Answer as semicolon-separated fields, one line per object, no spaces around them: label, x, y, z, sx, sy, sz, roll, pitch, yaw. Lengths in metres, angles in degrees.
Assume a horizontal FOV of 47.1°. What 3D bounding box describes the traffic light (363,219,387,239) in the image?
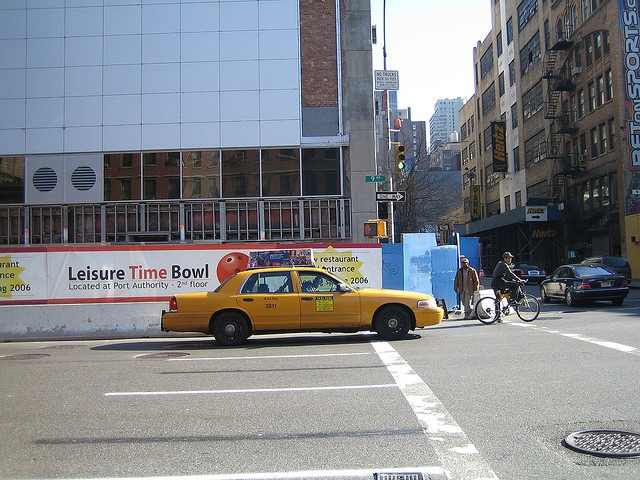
traffic light;1.943;-0.383;25.482;0.673;0.702;0.530;0;0;18

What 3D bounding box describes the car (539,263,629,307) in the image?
car;9.757;1.718;27.240;1.485;1.494;3.440;-2;8;-12

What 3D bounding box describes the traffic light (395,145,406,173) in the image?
traffic light;2.794;-2.834;25.556;0.288;0.967;0.776;-1;7;3

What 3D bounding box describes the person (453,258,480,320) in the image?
person;4.780;1.584;23.798;0.506;1.957;1.439;-2;7;-13

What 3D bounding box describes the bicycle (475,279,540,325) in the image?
bicycle;5.734;2.027;22.693;1.903;1.106;1.443;0;7;7

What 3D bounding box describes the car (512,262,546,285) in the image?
car;12.662;2.064;44.482;0.951;0.876;2.448;0;2;5

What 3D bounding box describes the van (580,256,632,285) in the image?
van;11.333;1.221;29.071;1.071;1.089;2.298;0;3;-4

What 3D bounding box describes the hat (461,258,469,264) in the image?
hat;4.700;0.699;23.816;0.284;0.155;0.456;2;-3;12
